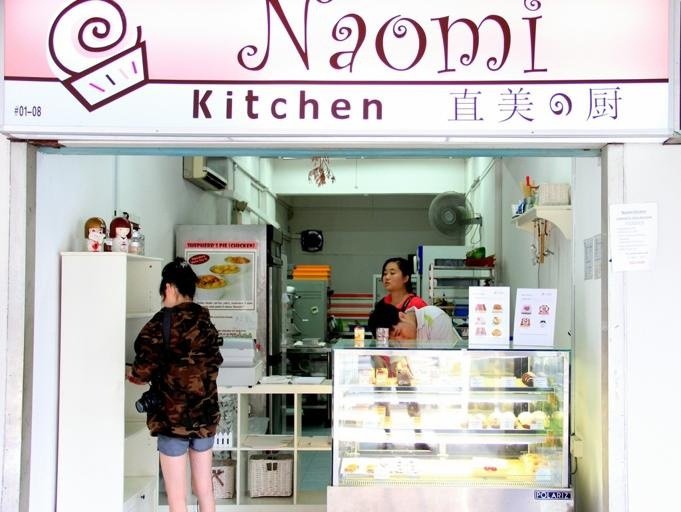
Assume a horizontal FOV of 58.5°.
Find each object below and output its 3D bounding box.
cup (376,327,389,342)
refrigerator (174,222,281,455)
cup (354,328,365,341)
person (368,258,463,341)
[{"bbox_3d":[0.304,0.565,4.440,0.085,0.126,0.087,1,6,0],"label":"cup"},{"bbox_3d":[-1.279,0.557,7.069,1.101,2.319,1.009,1,25,-7],"label":"refrigerator"},{"bbox_3d":[0.132,0.574,4.501,0.081,0.097,0.083,1,-8,0],"label":"cup"},{"bbox_3d":[0.564,0.336,4.905,0.672,0.685,0.892,-1,-4,9],"label":"person"}]
